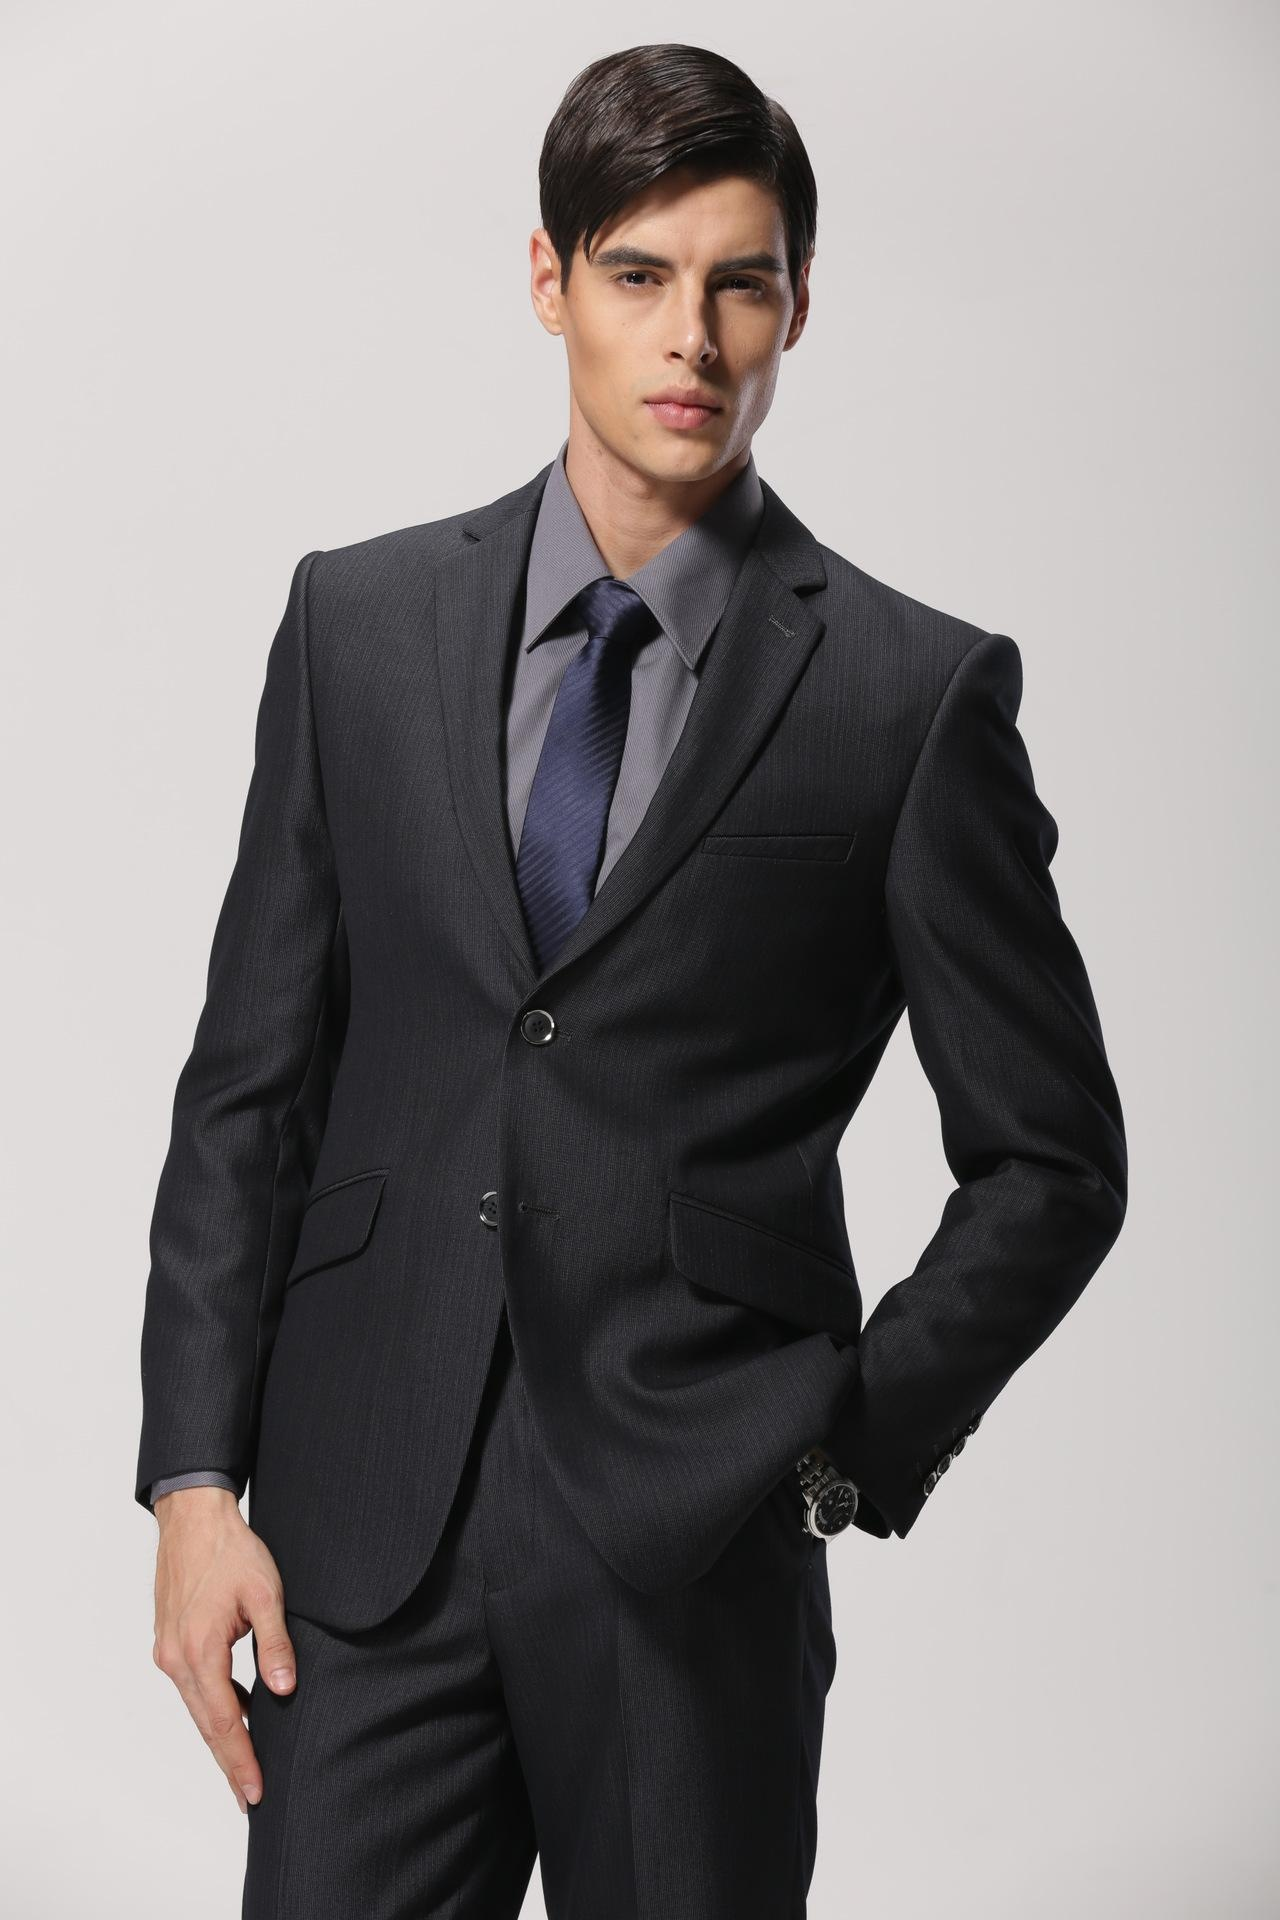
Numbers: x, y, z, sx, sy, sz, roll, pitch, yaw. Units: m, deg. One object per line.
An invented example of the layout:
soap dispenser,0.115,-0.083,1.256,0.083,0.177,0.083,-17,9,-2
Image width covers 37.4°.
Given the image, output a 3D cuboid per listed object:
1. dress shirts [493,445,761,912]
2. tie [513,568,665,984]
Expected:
dress shirts,-0.014,-0.192,1.335,0.145,0.294,0.070,11,-16,8
tie,-0.031,-0.120,1.229,0.071,0.269,0.034,14,-28,0
